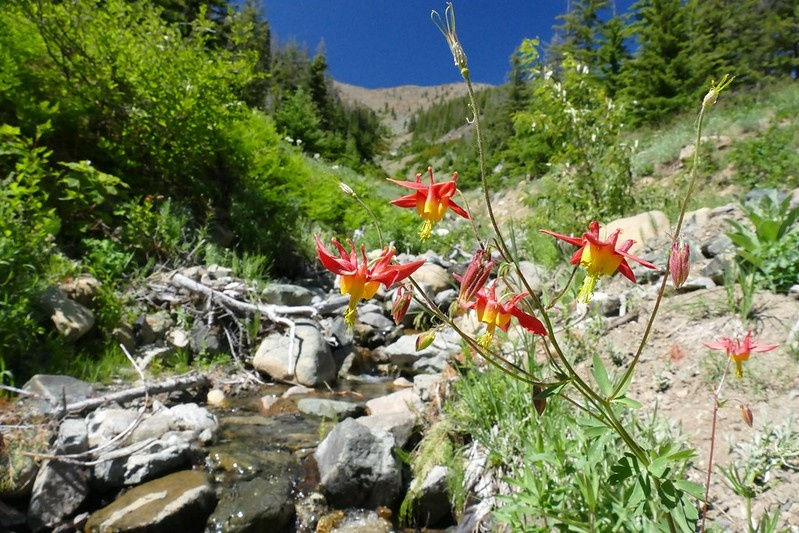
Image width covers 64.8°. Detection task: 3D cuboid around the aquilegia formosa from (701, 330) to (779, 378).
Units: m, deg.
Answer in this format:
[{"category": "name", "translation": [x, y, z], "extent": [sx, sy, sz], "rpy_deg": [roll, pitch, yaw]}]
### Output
[{"category": "aquilegia formosa", "translation": [3.466, 0.755, 6.436], "extent": [0.618, 0.461, 0.578], "rpy_deg": [0, -7, -37]}]

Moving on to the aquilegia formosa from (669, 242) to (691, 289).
[{"category": "aquilegia formosa", "translation": [2.672, -0.021, 5.995], "extent": [0.210, 0.441, 0.145], "rpy_deg": [-11, 5, 18]}]
